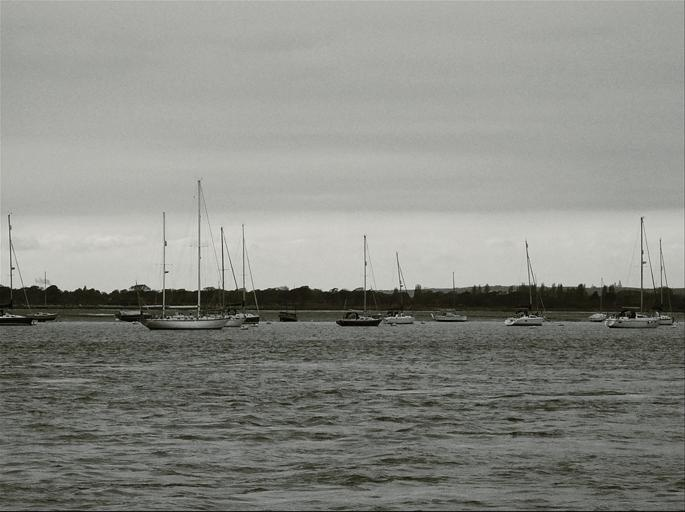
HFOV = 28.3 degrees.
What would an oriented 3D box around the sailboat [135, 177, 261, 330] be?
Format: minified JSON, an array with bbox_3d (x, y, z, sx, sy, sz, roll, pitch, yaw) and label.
[{"bbox_3d":[-15.556,5.097,147.320,15.513,15.951,8.860,-1,2,-37],"label":"sailboat"}]

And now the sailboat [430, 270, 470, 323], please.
[{"bbox_3d":[17.546,8.086,217.073,2.472,7.799,2.756,7,0,-16],"label":"sailboat"}]

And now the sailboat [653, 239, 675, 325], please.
[{"bbox_3d":[29.809,1.731,124.484,1.591,8.863,5.857,-5,-8,23],"label":"sailboat"}]
